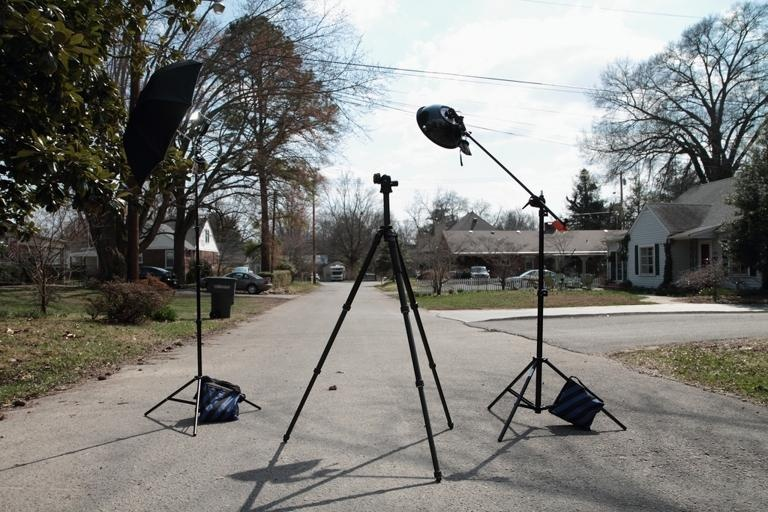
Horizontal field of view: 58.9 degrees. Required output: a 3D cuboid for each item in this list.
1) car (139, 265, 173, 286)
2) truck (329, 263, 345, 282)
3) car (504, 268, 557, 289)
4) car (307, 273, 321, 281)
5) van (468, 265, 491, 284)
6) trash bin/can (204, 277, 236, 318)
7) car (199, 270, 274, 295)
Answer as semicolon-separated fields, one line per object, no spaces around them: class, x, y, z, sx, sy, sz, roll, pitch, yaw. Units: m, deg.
car;-10.916;0.951;32.398;2.215;0.798;0.977;4;-1;11
truck;-5.826;2.281;86.399;1.925;1.805;2.845;0;-5;-6
car;8.457;1.029;38.041;3.203;1.268;1.611;2;-4;-1
car;-7.350;2.066;70.191;1.181;1.030;1.824;0;-8;-11
van;6.698;1.527;47.527;1.217;1.247;2.286;-1;-6;-2
trash bin/can;-5.228;1.396;21.749;1.068;1.288;1.176;-1;-4;12
car;-7.045;1.377;33.237;2.599;0.900;1.255;4;-2;6
